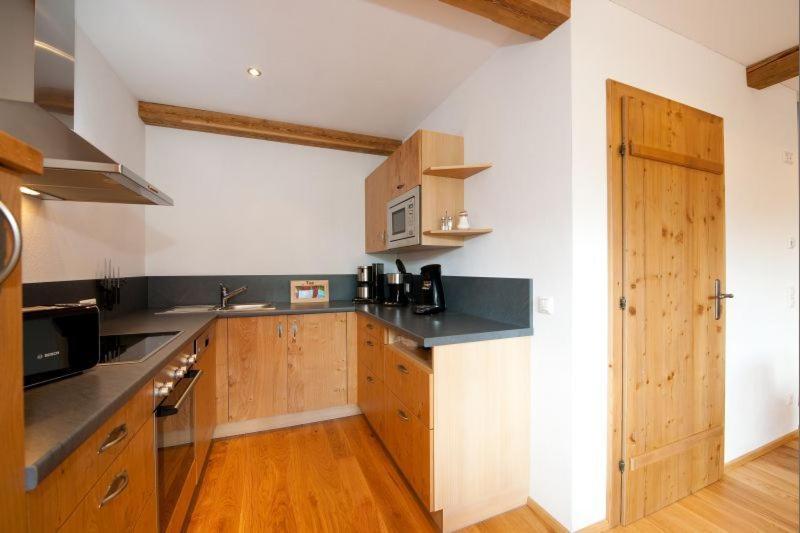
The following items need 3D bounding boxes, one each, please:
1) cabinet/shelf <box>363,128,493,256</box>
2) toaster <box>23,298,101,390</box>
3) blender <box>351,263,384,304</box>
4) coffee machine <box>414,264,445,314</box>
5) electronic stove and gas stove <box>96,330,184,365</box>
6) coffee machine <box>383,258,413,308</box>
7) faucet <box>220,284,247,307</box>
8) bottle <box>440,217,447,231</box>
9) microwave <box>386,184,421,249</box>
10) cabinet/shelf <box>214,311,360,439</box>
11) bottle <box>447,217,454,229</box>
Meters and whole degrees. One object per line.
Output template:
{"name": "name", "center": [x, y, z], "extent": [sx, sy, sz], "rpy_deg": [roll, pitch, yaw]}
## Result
{"name": "cabinet/shelf", "center": [0.124, -0.566, 5.320], "extent": [0.454, 0.947, 1.885], "rpy_deg": [2, -4, -21]}
{"name": "toaster", "center": [-2.014, 0.484, 3.339], "extent": [0.250, 0.403, 0.495], "rpy_deg": [2, -3, 27]}
{"name": "blender", "center": [-0.314, 0.188, 5.637], "extent": [0.388, 0.486, 0.283], "rpy_deg": [2, -4, -30]}
{"name": "coffee machine", "center": [0.243, 0.197, 4.845], "extent": [0.266, 0.430, 0.384], "rpy_deg": [-2, -2, 2]}
{"name": "electronic stove and gas stove", "center": [-1.795, 0.548, 3.829], "extent": [0.512, 0.160, 0.566], "rpy_deg": [-1, -2, -17]}
{"name": "coffee machine", "center": [-0.032, 0.159, 5.258], "extent": [0.251, 0.426, 0.407], "rpy_deg": [-2, -2, -3]}
{"name": "faucet", "center": [-1.553, 0.286, 5.288], "extent": [0.308, 0.214, 0.157], "rpy_deg": [-3, -2, 30]}
{"name": "bottle", "center": [0.361, -0.356, 4.654], "extent": [0.049, 0.127, 0.144], "rpy_deg": [-2, -2, 1]}
{"name": "microwave", "center": [0.036, -0.431, 4.882], "extent": [0.193, 0.454, 0.546], "rpy_deg": [1, -6, -16]}
{"name": "cabinet/shelf", "center": [-1.050, 0.953, 4.942], "extent": [1.089, 0.897, 0.415], "rpy_deg": [-1, 3, -18]}
{"name": "bottle", "center": [0.415, -0.361, 4.694], "extent": [0.031, 0.119, 0.176], "rpy_deg": [-2, -2, 12]}
